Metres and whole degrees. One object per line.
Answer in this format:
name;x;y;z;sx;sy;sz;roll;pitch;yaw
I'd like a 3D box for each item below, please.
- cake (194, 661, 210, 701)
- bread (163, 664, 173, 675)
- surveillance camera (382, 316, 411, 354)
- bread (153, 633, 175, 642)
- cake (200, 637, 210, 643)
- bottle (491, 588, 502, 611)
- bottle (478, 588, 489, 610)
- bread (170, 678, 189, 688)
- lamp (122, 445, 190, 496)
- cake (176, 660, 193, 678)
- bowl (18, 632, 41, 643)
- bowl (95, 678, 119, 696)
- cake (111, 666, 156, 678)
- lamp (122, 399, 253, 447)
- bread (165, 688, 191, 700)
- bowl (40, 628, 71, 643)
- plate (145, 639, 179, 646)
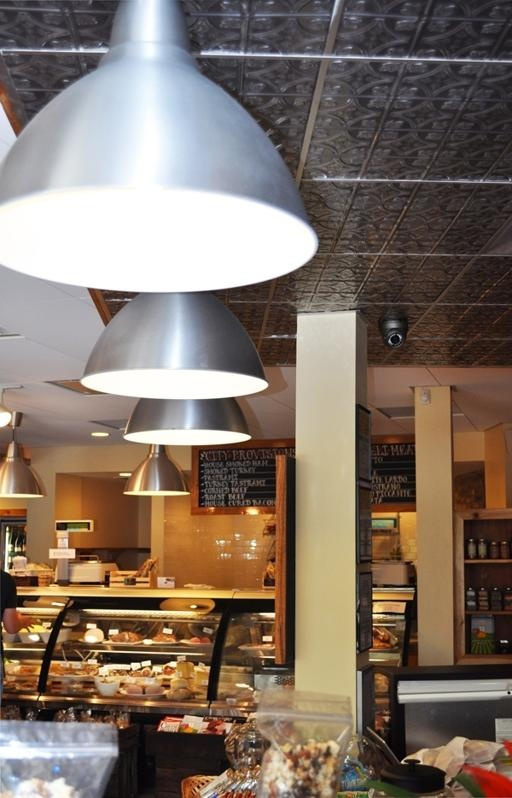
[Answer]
cake;-0.392;1.968;4.556;0.101;0.213;0.217;9;-16;-43
bread;-0.646;1.971;4.738;0.070;0.069;0.023;-13;-9;21
surveillance camera;0.777;-0.348;3.565;0.158;0.175;0.166;2;-11;-1
bread;-0.680;1.772;4.831;0.077;0.042;0.107;1;-11;3
cake;-0.370;1.732;4.683;0.082;0.041;0.048;-5;-12;17
bottle;2.144;1.778;5.801;0.104;0.174;0.259;-7;-12;24
bottle;2.026;1.777;5.776;0.102;0.172;0.207;-6;-12;21
bread;-0.541;1.991;4.609;0.075;0.066;0.074;9;-9;-34
lamp;-0.718;0.548;4.625;0.372;0.415;0.406;2;-17;-7
cake;-0.523;1.940;4.674;0.141;0.123;0.043;-7;-12;23
bowl;-1.773;1.860;5.071;0.103;0.046;0.102;-1;-12;0
bowl;-1.081;2.074;4.697;0.127;0.089;0.126;2;-12;0
cake;-0.897;2.004;4.781;0.322;0.073;0.078;-4;-11;10
lamp;-0.228;0.065;2.115;0.395;0.139;0.288;-3;-11;8
bread;-0.539;2.056;4.549;0.171;0.063;0.092;-1;-11;-2
bowl;-1.566;1.786;5.030;0.202;0.073;0.144;6;-34;5
plate;-0.726;1.804;4.820;0.112;0.018;0.113;-4;-12;27
